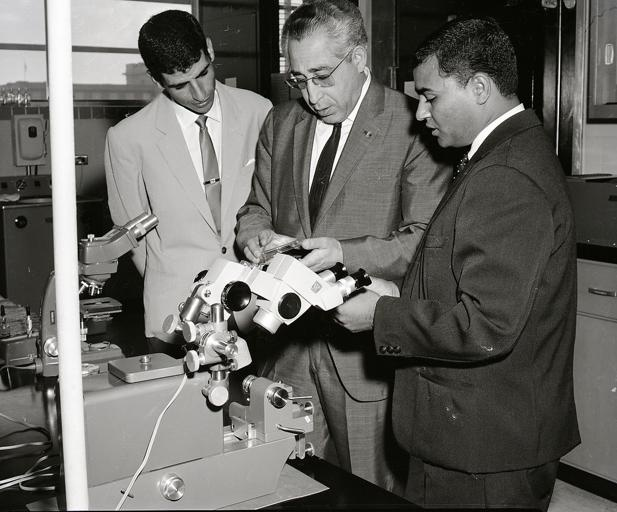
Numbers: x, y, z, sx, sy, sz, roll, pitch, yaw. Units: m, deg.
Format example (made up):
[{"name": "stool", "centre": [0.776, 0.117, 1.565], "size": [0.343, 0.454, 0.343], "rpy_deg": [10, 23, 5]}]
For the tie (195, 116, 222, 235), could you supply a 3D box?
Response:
[{"name": "tie", "centre": [-0.386, -0.309, 2.626], "size": [0.037, 0.535, 0.101], "rpy_deg": [6, -22, -36]}]

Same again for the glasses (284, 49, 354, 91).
[{"name": "glasses", "centre": [0.025, -0.578, 2.085], "size": [0.160, 0.123, 0.141], "rpy_deg": [5, 25, 17]}]

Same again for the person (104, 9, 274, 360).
[{"name": "person", "centre": [-0.495, -0.300, 2.665], "size": [0.482, 1.496, 0.498], "rpy_deg": [-4, 18, -27]}]

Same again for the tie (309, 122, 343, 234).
[{"name": "tie", "centre": [0.047, -0.255, 2.215], "size": [0.107, 0.335, 0.086], "rpy_deg": [19, 16, 29]}]

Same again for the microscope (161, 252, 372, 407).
[{"name": "microscope", "centre": [-0.118, 0.081, 1.564], "size": [0.440, 0.380, 0.355], "rpy_deg": [-7, 3, -42]}]

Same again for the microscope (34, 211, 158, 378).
[{"name": "microscope", "centre": [-0.633, 0.119, 1.975], "size": [0.349, 0.462, 0.263], "rpy_deg": [1, 5, 36]}]
